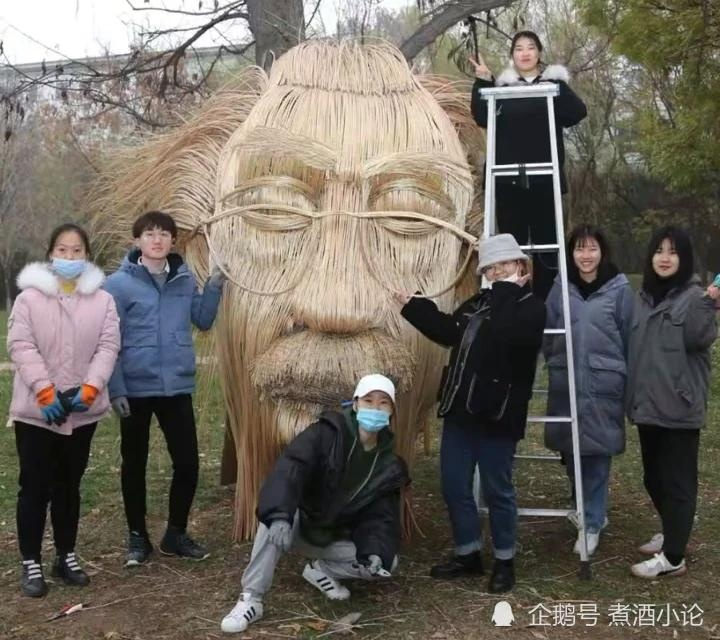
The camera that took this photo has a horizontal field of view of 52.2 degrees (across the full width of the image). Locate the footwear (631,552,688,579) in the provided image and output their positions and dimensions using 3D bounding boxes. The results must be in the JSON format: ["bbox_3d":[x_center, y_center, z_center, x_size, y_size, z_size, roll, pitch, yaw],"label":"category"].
[{"bbox_3d":[1.480,1.212,3.697,0.272,0.119,0.111,-3,7,-5],"label":"footwear"}]

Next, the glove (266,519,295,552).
[{"bbox_3d":[-0.337,0.901,3.142,0.097,0.137,0.067,-3,10,0],"label":"glove"}]

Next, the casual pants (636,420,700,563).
[{"bbox_3d":[1.543,0.882,3.733,0.284,0.725,0.340,3,6,24],"label":"casual pants"}]

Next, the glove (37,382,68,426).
[{"bbox_3d":[-1.375,0.366,3.274,0.101,0.194,0.060,-27,17,-29],"label":"glove"}]

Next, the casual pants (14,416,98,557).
[{"bbox_3d":[-1.435,0.803,3.483,0.352,0.705,0.217,-3,7,-28],"label":"casual pants"}]

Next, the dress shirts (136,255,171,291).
[{"bbox_3d":[-1.026,-0.237,3.670,0.125,0.130,0.164,17,6,-8],"label":"dress shirts"}]

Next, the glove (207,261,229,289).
[{"bbox_3d":[-0.718,-0.226,3.738,0.088,0.134,0.075,23,19,22],"label":"glove"}]

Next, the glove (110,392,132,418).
[{"bbox_3d":[-1.164,0.413,3.591,0.071,0.108,0.095,-8,1,-20],"label":"glove"}]

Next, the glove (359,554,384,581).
[{"bbox_3d":[0.045,1.088,3.243,0.095,0.065,0.135,0,-12,2],"label":"glove"}]

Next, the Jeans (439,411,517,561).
[{"bbox_3d":[0.550,0.795,3.558,0.330,0.248,0.794,-1,46,9],"label":"Jeans"}]

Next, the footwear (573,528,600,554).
[{"bbox_3d":[1.198,1.166,3.908,0.106,0.146,0.330,-4,-12,18],"label":"footwear"}]

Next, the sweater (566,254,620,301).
[{"bbox_3d":[1.249,-0.224,3.999,0.196,0.263,0.110,0,2,15],"label":"sweater"}]

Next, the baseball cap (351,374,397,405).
[{"bbox_3d":[0.061,0.305,3.317,0.180,0.121,0.166,0,6,-2],"label":"baseball cap"}]

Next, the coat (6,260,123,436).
[{"bbox_3d":[-1.383,0.131,3.431,0.512,0.793,0.397,-2,6,-20],"label":"coat"}]

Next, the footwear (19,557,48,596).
[{"bbox_3d":[-1.508,1.197,3.402,0.075,0.087,0.205,7,-3,-31],"label":"footwear"}]

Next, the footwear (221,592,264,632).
[{"bbox_3d":[-0.509,1.271,3.189,0.079,0.118,0.243,0,-9,19],"label":"footwear"}]

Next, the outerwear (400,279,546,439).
[{"bbox_3d":[0.530,0.148,3.595,0.652,0.752,0.461,12,2,28],"label":"outerwear"}]

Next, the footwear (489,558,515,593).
[{"bbox_3d":[0.675,1.213,3.520,0.126,0.146,0.135,1,6,9],"label":"footwear"}]

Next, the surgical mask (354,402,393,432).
[{"bbox_3d":[0.048,0.435,3.306,0.108,0.074,0.124,5,2,-2],"label":"surgical mask"}]

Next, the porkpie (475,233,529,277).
[{"bbox_3d":[0.653,-0.323,3.495,0.268,0.144,0.240,-12,-7,14],"label":"porkpie"}]

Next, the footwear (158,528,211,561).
[{"bbox_3d":[-0.931,1.172,3.930,0.317,0.157,0.119,7,2,13],"label":"footwear"}]

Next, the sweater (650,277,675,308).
[{"bbox_3d":[1.533,-0.153,3.773,0.096,0.133,0.119,6,48,15],"label":"sweater"}]
